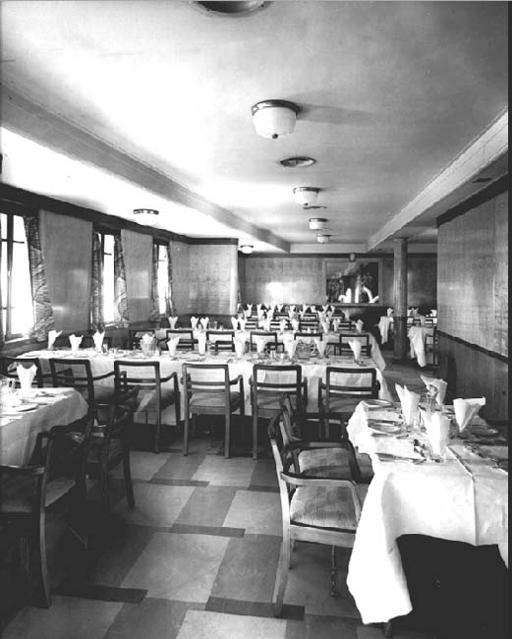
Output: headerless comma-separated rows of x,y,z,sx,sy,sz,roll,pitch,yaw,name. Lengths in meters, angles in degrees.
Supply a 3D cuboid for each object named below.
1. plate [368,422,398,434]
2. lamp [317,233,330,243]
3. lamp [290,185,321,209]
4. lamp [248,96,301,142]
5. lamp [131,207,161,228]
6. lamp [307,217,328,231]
0.756,0.638,3.051,0.108,0.038,0.070,1,1,8,plate
1.517,-1.828,11.739,0.274,0.308,0.245,-4,4,22,lamp
0.668,-1.614,6.745,0.349,0.206,0.554,2,5,13,lamp
0.140,-1.387,3.639,0.308,0.235,0.360,0,11,13,lamp
-1.566,-1.480,7.413,0.322,0.206,0.407,-3,6,-40,lamp
1.163,-1.766,9.537,0.289,0.196,0.296,-1,4,5,lamp
